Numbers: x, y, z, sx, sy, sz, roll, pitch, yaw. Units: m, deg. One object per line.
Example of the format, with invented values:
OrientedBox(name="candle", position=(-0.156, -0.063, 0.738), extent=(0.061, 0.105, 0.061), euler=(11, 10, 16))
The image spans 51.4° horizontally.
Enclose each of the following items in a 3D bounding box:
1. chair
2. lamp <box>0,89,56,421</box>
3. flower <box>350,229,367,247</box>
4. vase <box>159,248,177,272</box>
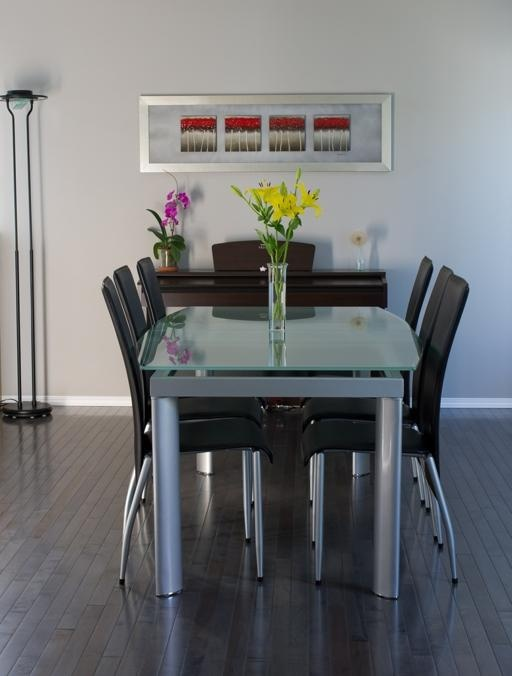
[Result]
OrientedBox(name="chair", position=(0.066, 0.203, 1.779), extent=(0.910, 0.992, 0.851), euler=(-1, 11, -1))
OrientedBox(name="lamp", position=(-1.558, -0.564, 3.500), extent=(0.336, 2.195, 0.746), euler=(-1, 2, -22))
OrientedBox(name="flower", position=(0.712, -0.675, 3.599), extent=(0.121, 0.103, 0.105), euler=(0, 1, 13))
OrientedBox(name="vase", position=(-0.595, -0.522, 3.557), extent=(0.127, 0.171, 0.138), euler=(1, 9, 8))
